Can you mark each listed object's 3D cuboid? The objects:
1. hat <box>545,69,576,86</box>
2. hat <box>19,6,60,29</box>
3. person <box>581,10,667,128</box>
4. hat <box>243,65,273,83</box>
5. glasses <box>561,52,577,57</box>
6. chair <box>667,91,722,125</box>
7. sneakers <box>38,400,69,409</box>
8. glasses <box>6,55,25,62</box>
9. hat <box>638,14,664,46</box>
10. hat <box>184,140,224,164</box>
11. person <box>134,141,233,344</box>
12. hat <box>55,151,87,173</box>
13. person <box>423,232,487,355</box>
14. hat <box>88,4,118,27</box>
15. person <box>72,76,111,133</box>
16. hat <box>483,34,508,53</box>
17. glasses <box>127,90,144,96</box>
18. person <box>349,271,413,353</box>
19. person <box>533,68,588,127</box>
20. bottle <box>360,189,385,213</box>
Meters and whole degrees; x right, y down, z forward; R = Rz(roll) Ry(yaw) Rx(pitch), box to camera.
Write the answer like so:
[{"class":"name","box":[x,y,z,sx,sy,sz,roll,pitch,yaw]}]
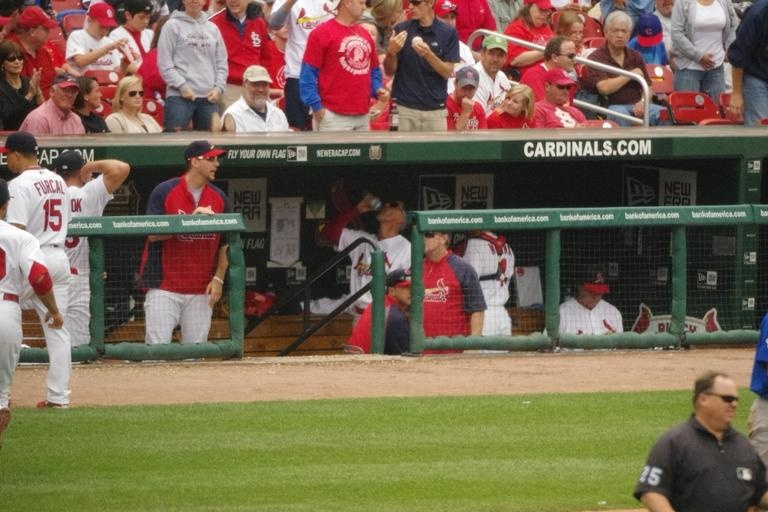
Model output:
[{"class":"hat","box":[2.329,-2.330,23.556,0.324,0.151,0.232,16,14,37]},{"class":"hat","box":[-4.503,-3.095,23.310,0.452,0.220,0.269,-4,21,-10]},{"class":"person","box":[3.355,-2.436,24.658,1.127,1.648,1.129,-9,17,-39]},{"class":"hat","box":[-1.623,-2.307,22.790,0.326,0.227,0.261,-1,-1,-4]},{"class":"glasses","box":[2.490,-2.656,23.790,0.050,0.068,0.159,-3,-2,43]},{"class":"chair","box":[4.343,-2.027,25.175,0.590,0.591,0.520,0,-5,-19]},{"class":"sneakers","box":[-3.676,1.669,19.908,0.332,0.122,0.117,7,5,8]},{"class":"glasses","box":[-4.678,-2.494,22.681,0.067,0.089,0.231,-3,-2,45]},{"class":"hat","box":[3.872,-3.332,26.114,0.419,0.560,0.230,1,-41,22]},{"class":"hat","box":[-2.194,-1.250,21.684,0.424,0.182,0.258,-3,10,0]},{"class":"person","box":[-2.432,-0.136,21.725,1.120,2.459,0.481,-1,-2,-6]},{"class":"hat","box":[-3.709,-1.106,21.241,0.261,0.180,0.325,7,30,20]},{"class":"person","box":[0.864,0.371,21.929,0.744,1.277,0.246,-1,-2,5]},{"class":"hat","box":[-3.744,-3.179,23.811,0.414,0.230,0.271,34,28,13]},{"class":"person","box":[-3.765,-1.904,22.911,0.399,0.609,0.735,-10,16,-5]},{"class":"hat","box":[1.491,-2.851,24.056,0.320,0.254,0.312,-1,-1,1]},{"class":"glasses","box":[-3.149,-2.047,22.757,0.093,0.074,0.224,-2,-2,37]},{"class":"person","box":[-0.009,0.752,22.273,0.695,0.931,0.724,14,12,-21]},{"class":"person","box":[2.334,-2.071,23.982,0.612,0.853,1.116,4,7,41]},{"class":"bottle","box":[-0.206,-0.715,24.261,0.131,0.283,0.280,13,35,-51]}]
